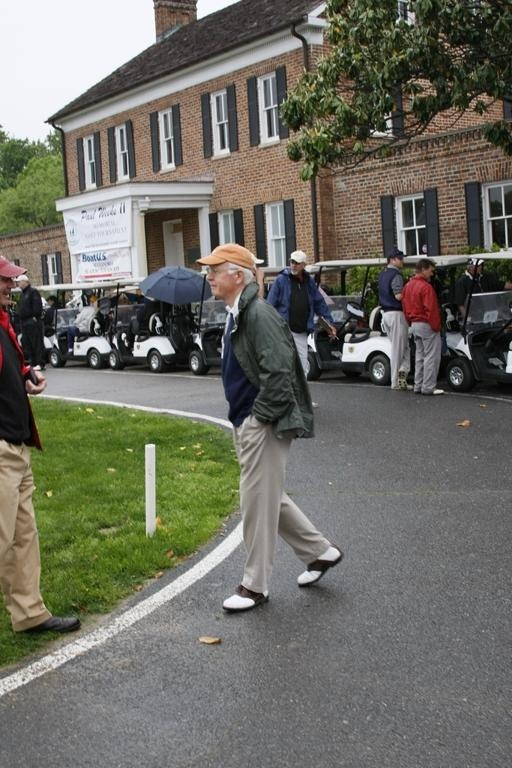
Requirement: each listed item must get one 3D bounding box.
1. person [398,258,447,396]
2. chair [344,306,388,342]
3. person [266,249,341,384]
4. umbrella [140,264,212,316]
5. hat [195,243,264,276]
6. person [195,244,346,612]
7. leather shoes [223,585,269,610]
[{"bbox_3d":[2.836,-0.963,11.366,0.635,2.333,0.501,-2,2,13],"label":"person"},{"bbox_3d":[2.211,-1.216,13.433,0.748,1.018,0.650,1,5,7],"label":"chair"},{"bbox_3d":[0.634,-0.911,9.927,0.990,2.127,0.670,4,22,4],"label":"person"},{"bbox_3d":[-1.840,-2.313,15.761,1.153,0.484,1.218,-8,38,-24],"label":"umbrella"},{"bbox_3d":[-0.133,-0.634,3.491,0.265,0.118,0.177,3,2,-9],"label":"hat"},{"bbox_3d":[0.059,0.203,3.551,0.653,1.267,0.480,-4,2,-40],"label":"person"},{"bbox_3d":[-0.054,1.114,3.472,0.089,0.114,0.232,-9,-10,41],"label":"leather shoes"}]
